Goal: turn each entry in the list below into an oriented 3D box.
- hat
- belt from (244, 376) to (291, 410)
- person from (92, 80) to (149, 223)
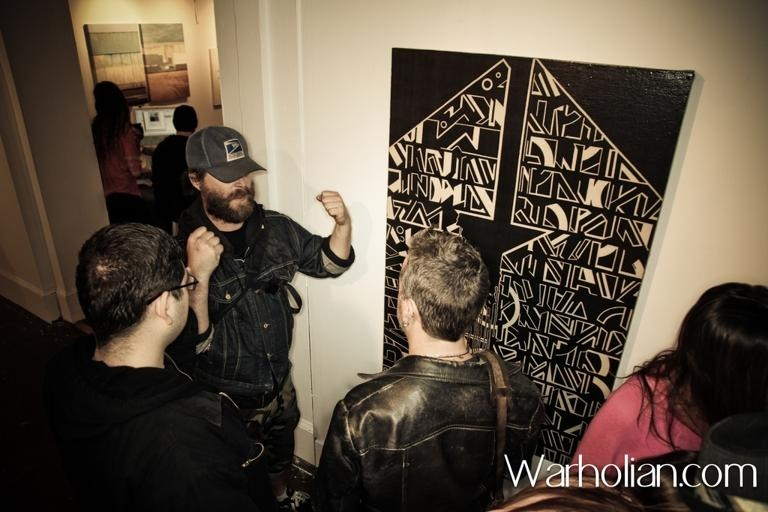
[{"bbox_3d":[-0.780,-0.513,2.546,0.372,0.196,0.242,16,31,22],"label":"hat"},{"bbox_3d":[-0.634,0.725,2.763,0.180,0.177,0.103,-18,58,-32],"label":"belt"},{"bbox_3d":[-2.267,-0.852,4.440,0.352,1.250,0.254,-9,26,-25],"label":"person"}]
